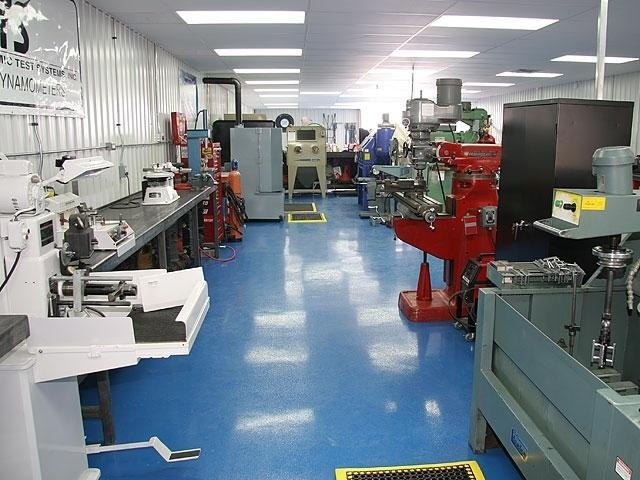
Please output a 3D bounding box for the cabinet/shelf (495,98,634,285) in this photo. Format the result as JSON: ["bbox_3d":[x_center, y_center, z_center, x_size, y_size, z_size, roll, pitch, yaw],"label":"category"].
[{"bbox_3d":[1.707,-0.388,3.329,0.844,1.228,0.474,6,15,34],"label":"cabinet/shelf"}]
